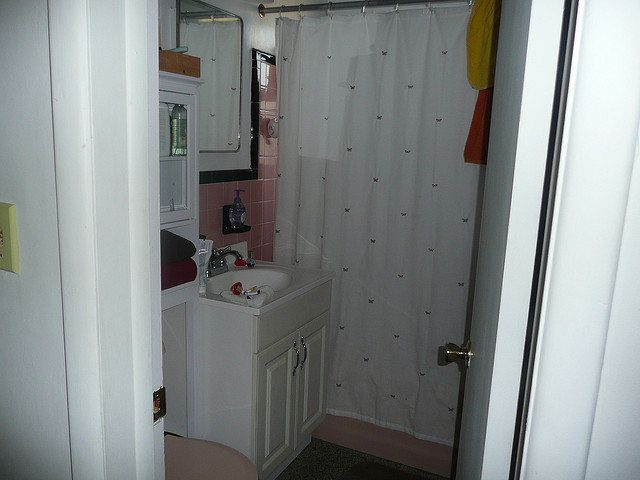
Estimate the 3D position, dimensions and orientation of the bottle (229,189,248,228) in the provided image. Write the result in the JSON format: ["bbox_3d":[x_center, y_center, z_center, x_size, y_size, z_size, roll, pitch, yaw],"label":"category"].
[{"bbox_3d":[-0.409,-0.164,2.614,0.067,0.182,0.120,2,15,9],"label":"bottle"}]

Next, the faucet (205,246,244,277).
[{"bbox_3d":[-0.443,0.099,2.370,0.101,0.132,0.131,1,6,30],"label":"faucet"}]

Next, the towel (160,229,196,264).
[{"bbox_3d":[-0.550,0.014,2.002,0.025,0.148,0.230,4,16,17],"label":"towel"}]
